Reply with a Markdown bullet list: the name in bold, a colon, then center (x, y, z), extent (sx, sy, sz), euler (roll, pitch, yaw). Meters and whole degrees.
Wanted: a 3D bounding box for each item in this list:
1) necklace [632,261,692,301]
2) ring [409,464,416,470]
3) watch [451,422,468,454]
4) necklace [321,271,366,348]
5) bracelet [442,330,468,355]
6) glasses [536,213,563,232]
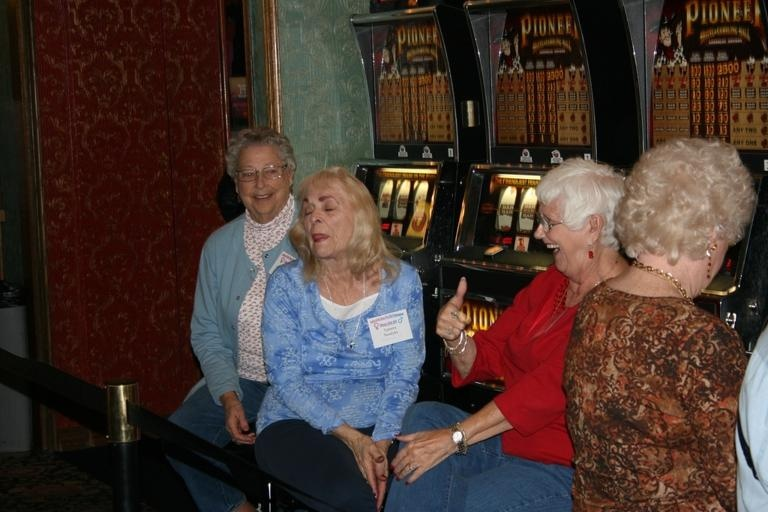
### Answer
- **necklace**: center (0.925, 0.075, 2.287), extent (0.153, 0.043, 0.121), euler (32, 24, 18)
- **ring**: center (0.107, 0.845, 2.712), extent (0.017, 0.025, 0.007), euler (-2, 5, -3)
- **watch**: center (0.298, 0.740, 2.737), extent (0.074, 0.104, 0.108), euler (-16, -3, 7)
- **necklace**: center (-0.189, 0.253, 3.040), extent (0.307, 0.334, 0.085), euler (-4, 1, -6)
- **bracelet**: center (0.311, 0.395, 3.061), extent (0.066, 0.111, 0.083), euler (9, 12, 39)
- **glasses**: center (0.693, -0.138, 2.842), extent (0.082, 0.033, 0.078), euler (7, 11, -22)
